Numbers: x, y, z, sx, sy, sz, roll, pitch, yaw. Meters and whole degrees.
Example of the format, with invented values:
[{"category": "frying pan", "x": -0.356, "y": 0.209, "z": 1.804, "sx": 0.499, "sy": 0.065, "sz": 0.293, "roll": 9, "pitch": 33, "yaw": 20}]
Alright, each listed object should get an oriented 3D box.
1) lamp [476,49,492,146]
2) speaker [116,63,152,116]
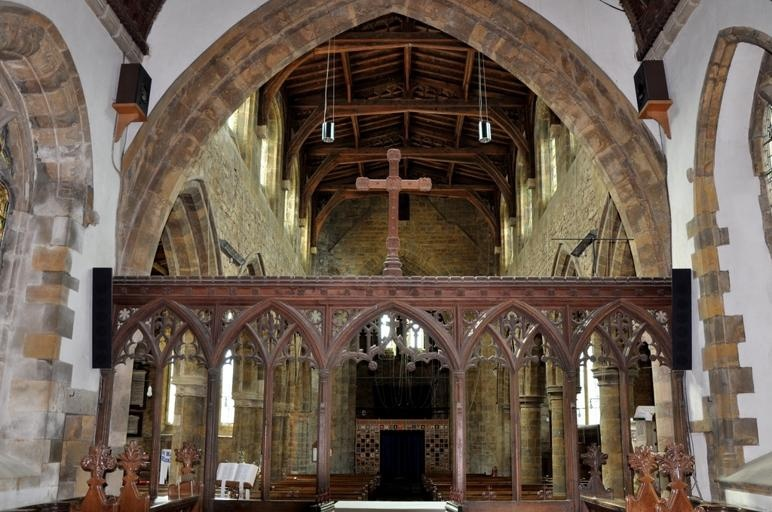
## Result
[{"category": "lamp", "x": 2.119, "y": -3.558, "z": 17.480, "sx": 0.213, "sy": 1.851, "sz": 0.233, "roll": 4, "pitch": 14, "yaw": 32}, {"category": "speaker", "x": -3.031, "y": -2.002, "z": 9.492, "sx": 0.258, "sy": 0.515, "sz": 0.536, "roll": 3, "pitch": -18, "yaw": 1}]
